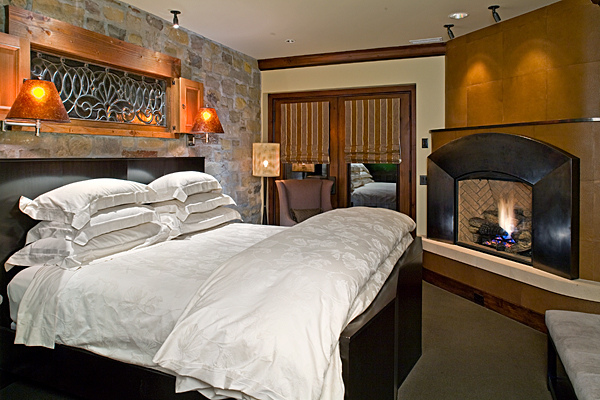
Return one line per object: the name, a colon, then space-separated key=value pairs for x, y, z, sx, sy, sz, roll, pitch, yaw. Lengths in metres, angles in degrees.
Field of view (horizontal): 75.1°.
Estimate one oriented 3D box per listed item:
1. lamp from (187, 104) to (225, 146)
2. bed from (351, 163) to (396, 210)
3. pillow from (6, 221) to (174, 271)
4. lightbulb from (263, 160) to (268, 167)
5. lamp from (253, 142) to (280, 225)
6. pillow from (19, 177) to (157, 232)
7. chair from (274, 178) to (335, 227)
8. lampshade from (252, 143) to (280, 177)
lamp: x=-1.125 y=-0.906 z=4.861 sx=0.421 sy=0.479 sz=0.502 roll=10 pitch=15 yaw=39
bed: x=1.299 y=-0.245 z=6.473 sx=0.973 sy=0.587 sz=1.013 roll=6 pitch=16 yaw=31
pillow: x=-1.703 y=0.271 z=3.306 sx=0.927 sy=0.369 sz=1.271 roll=3 pitch=6 yaw=35
lightbulb: x=-0.504 y=-0.556 z=5.920 sx=0.071 sy=0.093 sz=0.075 roll=-1 pitch=4 yaw=7
lamp: x=-0.535 y=-0.154 z=6.241 sx=0.406 sy=1.603 sz=0.426 roll=16 pitch=25 yaw=31
pillow: x=-1.730 y=-0.008 z=3.359 sx=0.633 sy=0.399 sz=1.122 roll=8 pitch=5 yaw=22
chair: x=0.088 y=-0.002 z=5.854 sx=0.742 sy=0.802 sz=0.677 roll=0 pitch=-5 yaw=-9
lampshade: x=-0.461 y=-0.606 z=5.940 sx=0.432 sy=0.520 sz=0.452 roll=0 pitch=2 yaw=0
